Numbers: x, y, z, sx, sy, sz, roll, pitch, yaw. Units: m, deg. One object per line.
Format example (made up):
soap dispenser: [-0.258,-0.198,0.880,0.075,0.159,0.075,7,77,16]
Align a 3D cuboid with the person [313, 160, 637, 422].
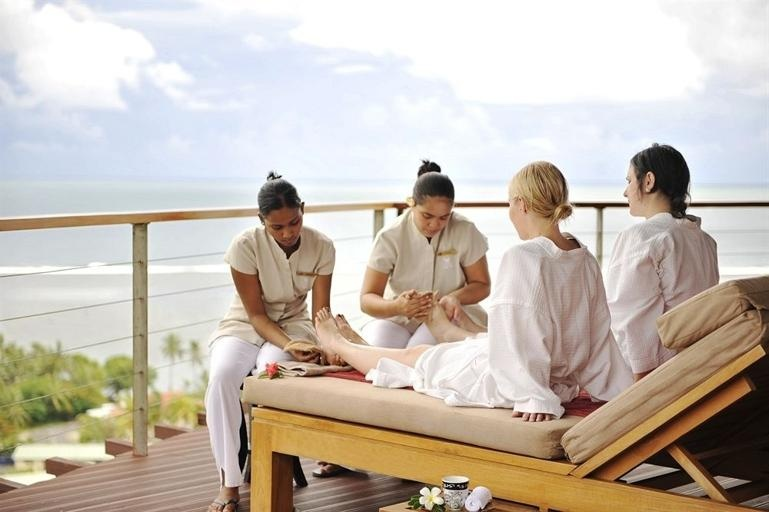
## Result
person: [0.421,0.133,2.864,0.808,0.863,1.334,-2,2,-37]

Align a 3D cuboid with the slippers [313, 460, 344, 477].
slippers: [-0.250,1.002,3.221,0.079,0.095,0.241,-2,-10,20]

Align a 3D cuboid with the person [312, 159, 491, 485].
person: [0.168,0.316,3.408,0.624,1.502,0.897,7,23,15]
